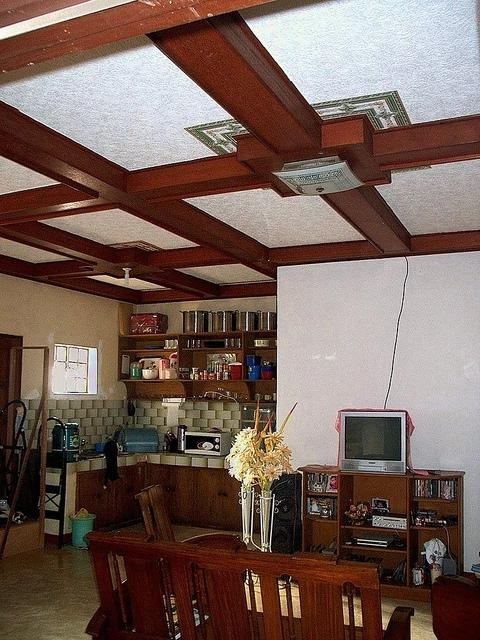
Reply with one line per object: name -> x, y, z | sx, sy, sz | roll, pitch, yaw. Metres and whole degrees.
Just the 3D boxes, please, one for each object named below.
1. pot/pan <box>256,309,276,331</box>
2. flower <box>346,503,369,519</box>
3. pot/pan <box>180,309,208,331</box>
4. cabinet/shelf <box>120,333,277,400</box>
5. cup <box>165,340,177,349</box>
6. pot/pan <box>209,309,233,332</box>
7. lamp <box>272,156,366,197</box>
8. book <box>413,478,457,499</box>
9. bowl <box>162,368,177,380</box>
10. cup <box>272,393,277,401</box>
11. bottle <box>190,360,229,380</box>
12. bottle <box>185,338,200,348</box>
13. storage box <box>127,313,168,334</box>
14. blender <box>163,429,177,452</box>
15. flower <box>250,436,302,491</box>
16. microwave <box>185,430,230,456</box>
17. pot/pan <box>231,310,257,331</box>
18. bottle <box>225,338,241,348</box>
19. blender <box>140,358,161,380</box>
pot/pan -> 0.369, 0.015, 6.739 | 0.247, 0.262, 0.246 | -2, -5, 24
flower -> 1.050, 1.698, 4.437 | 0.138, 0.061, 0.149 | 1, -3, -3
pot/pan -> -0.642, 0.024, 7.077 | 0.352, 0.297, 0.172 | 0, 0, 3
cabinet/shelf -> -0.611, 0.695, 7.183 | 2.504, 1.037, 0.497 | 0, 0, 22
cup -> -1.045, 0.359, 7.475 | 0.187, 0.172, 0.137 | 5, 5, 43
pot/pan -> -0.275, 0.027, 6.946 | 0.359, 0.297, 0.250 | 0, 0, 6
lamp -> 0.433, -0.779, 2.699 | 0.385, 0.101, 0.383 | 0, 0, 26
book -> 1.634, 1.416, 4.122 | 0.330, 0.131, 0.080 | 0, 0, 18
bowl -> -1.033, 0.781, 7.246 | 0.182, 0.167, 0.155 | -3, 5, -45
cup -> 0.461, 1.056, 6.726 | 0.061, 0.067, 0.210 | 0, 0, -4
bottle -> -0.424, 0.741, 7.129 | 0.679, 0.247, 0.391 | 0, 0, 19
bottle -> -0.685, 0.346, 7.305 | 0.158, 0.105, 0.153 | 0, -2, 0
storage box -> -1.395, 0.071, 7.361 | 0.506, 0.307, 0.332 | 1, -8, 10
blender -> -1.028, 1.791, 7.287 | 0.184, 0.268, 0.374 | 0, 0, -9
flower -> 0.155, 0.875, 2.971 | 0.318, 0.343, 0.300 | 7, -6, -19
microwave -> -0.440, 1.704, 6.781 | 0.632, 0.321, 0.304 | 0, 0, -4
pot/pan -> 0.051, 0.023, 6.826 | 0.306, 0.212, 0.226 | -1, -4, 21
bottle -> -0.099, 0.329, 6.907 | 0.155, 0.087, 0.151 | 1, -4, 0
blender -> -1.361, 0.744, 7.483 | 0.358, 0.327, 0.298 | -1, -11, 0
